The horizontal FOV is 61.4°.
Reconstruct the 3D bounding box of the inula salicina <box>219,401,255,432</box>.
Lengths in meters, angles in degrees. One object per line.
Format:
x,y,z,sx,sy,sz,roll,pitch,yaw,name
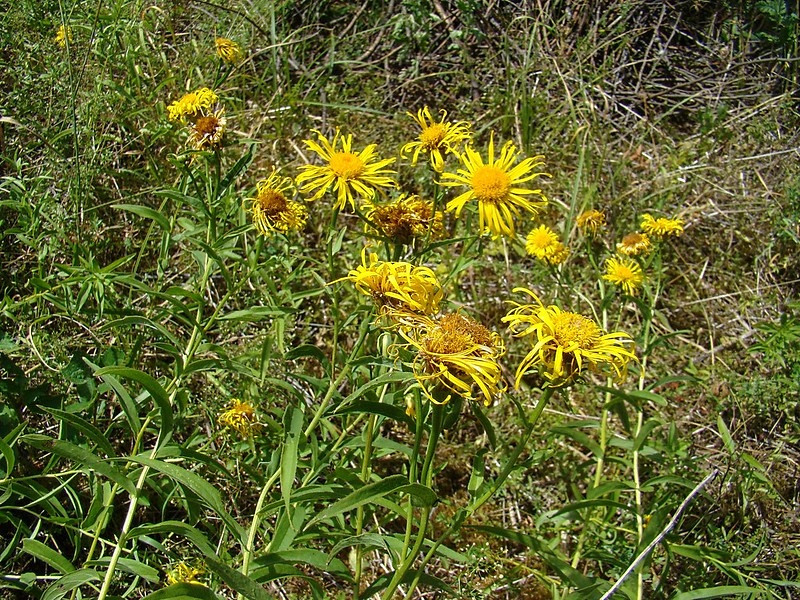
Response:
-0.711,0.522,2.989,0.141,0.088,0.154,-21,76,-12,inula salicina

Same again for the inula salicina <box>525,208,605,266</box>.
0.878,-0.336,3.527,0.244,0.135,0.400,28,65,35,inula salicina

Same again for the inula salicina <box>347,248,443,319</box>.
-0.052,-0.106,2.464,0.299,0.291,0.142,-6,101,-36,inula salicina

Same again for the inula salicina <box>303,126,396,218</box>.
-0.236,-0.571,2.964,0.452,0.141,0.497,11,45,8,inula salicina

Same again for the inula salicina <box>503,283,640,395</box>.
0.598,0.174,2.439,0.463,0.245,0.530,1,22,-27,inula salicina

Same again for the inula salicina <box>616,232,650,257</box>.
1.166,-0.271,3.372,0.151,0.117,0.125,-10,80,-3,inula salicina

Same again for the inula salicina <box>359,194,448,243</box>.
-0.008,-0.390,2.961,0.343,0.338,0.194,-15,100,3,inula salicina
